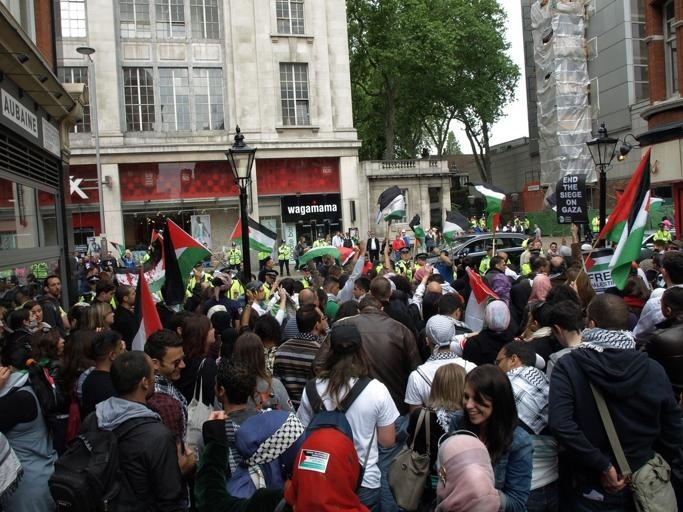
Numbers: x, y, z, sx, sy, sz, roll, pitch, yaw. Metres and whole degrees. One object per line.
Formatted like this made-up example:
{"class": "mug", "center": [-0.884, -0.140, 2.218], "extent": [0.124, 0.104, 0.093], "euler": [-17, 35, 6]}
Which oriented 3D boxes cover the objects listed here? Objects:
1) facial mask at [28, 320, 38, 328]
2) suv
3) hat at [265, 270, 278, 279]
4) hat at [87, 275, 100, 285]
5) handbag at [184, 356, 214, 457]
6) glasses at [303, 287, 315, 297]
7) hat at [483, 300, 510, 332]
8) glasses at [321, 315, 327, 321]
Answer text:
{"class": "facial mask", "center": [-4.138, 0.928, 9.266], "extent": [0.108, 0.087, 0.104], "euler": [0, 0, 2]}
{"class": "suv", "center": [3.678, -0.123, 19.254], "extent": [2.795, 1.199, 1.380], "euler": [1, -2, -14]}
{"class": "hat", "center": [-1.265, 0.335, 12.404], "extent": [0.148, 0.090, 0.179], "euler": [-1, 0, -41]}
{"class": "hat", "center": [-5.420, 0.521, 15.161], "extent": [0.327, 0.157, 0.264], "euler": [0, 6, 21]}
{"class": "handbag", "center": [-1.360, 1.487, 6.624], "extent": [0.176, 0.755, 0.348], "euler": [-23, -47, 25]}
{"class": "glasses", "center": [-0.437, 0.516, 9.436], "extent": [0.121, 0.127, 0.092], "euler": [-36, 30, 7]}
{"class": "hat", "center": [1.709, 0.606, 7.579], "extent": [0.224, 0.349, 0.341], "euler": [4, 40, 12]}
{"class": "glasses", "center": [-0.225, 0.840, 9.304], "extent": [0.078, 0.045, 0.110], "euler": [0, 2, 0]}
